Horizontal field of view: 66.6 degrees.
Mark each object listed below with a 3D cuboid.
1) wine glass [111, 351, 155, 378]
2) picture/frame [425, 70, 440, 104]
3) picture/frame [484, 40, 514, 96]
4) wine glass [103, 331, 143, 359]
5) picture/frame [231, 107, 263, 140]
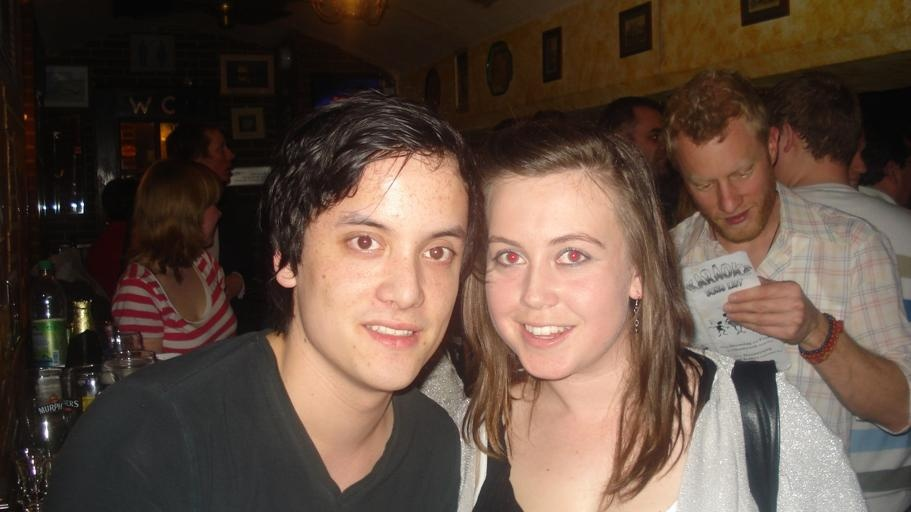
[{"bbox_3d":[-2.110,0.685,4.493,0.274,0.178,0.267,-2,-13,-2],"label":"wine glass"},{"bbox_3d":[-0.332,-2.495,10.229,0.099,0.443,0.460,-5,18,-19],"label":"picture/frame"},{"bbox_3d":[0.561,-2.377,8.742,0.035,0.683,0.717,-10,15,-25],"label":"picture/frame"},{"bbox_3d":[-2.328,0.601,4.837,0.223,0.141,0.226,-2,-3,41],"label":"wine glass"},{"bbox_3d":[-3.097,-1.936,10.209,0.530,0.455,0.054,-3,5,-11],"label":"picture/frame"}]
